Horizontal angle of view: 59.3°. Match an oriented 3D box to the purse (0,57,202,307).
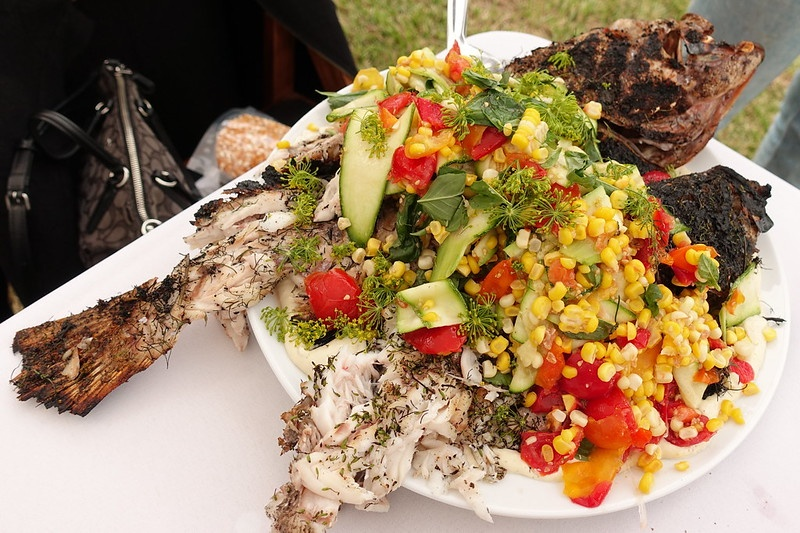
[{"bbox_3d":[-1.886,-0.482,4.290,0.636,1.112,1.157,-12,53,9],"label":"purse"}]
